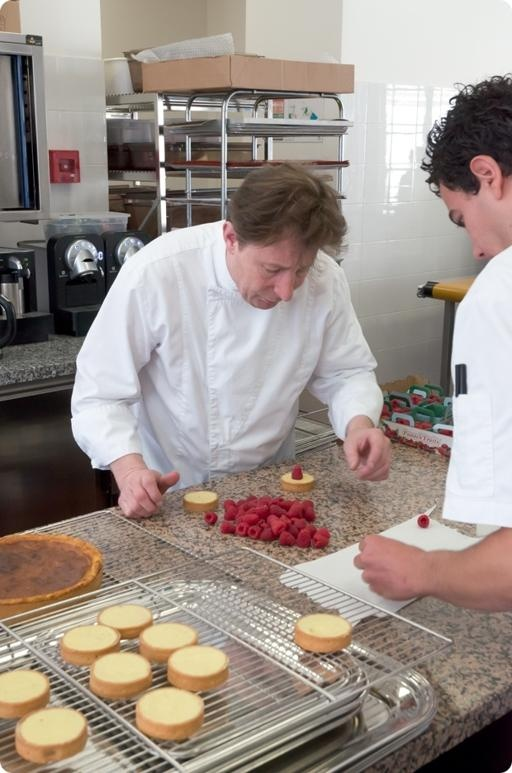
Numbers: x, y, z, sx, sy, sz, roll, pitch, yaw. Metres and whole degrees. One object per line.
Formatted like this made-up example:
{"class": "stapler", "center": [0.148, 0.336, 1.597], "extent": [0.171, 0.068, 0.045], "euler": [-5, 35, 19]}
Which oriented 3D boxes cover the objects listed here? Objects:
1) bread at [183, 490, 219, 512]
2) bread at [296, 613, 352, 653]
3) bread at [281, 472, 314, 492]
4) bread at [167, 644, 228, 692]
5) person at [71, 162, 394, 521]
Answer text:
{"class": "bread", "center": [-0.113, 0.227, 1.211], "extent": [0.067, 0.026, 0.092], "euler": [2, 3, -15]}
{"class": "bread", "center": [0.076, 0.271, 0.675], "extent": [0.058, 0.022, 0.071], "euler": [4, 3, 20]}
{"class": "bread", "center": [0.092, 0.206, 1.319], "extent": [0.079, 0.031, 0.072], "euler": [2, 3, -15]}
{"class": "bread", "center": [-0.055, 0.278, 0.598], "extent": [0.057, 0.026, 0.066], "euler": [1, 4, -25]}
{"class": "person", "center": [-0.013, -0.095, 1.365], "extent": [0.752, 0.709, 0.524], "euler": [2, 4, -17]}
